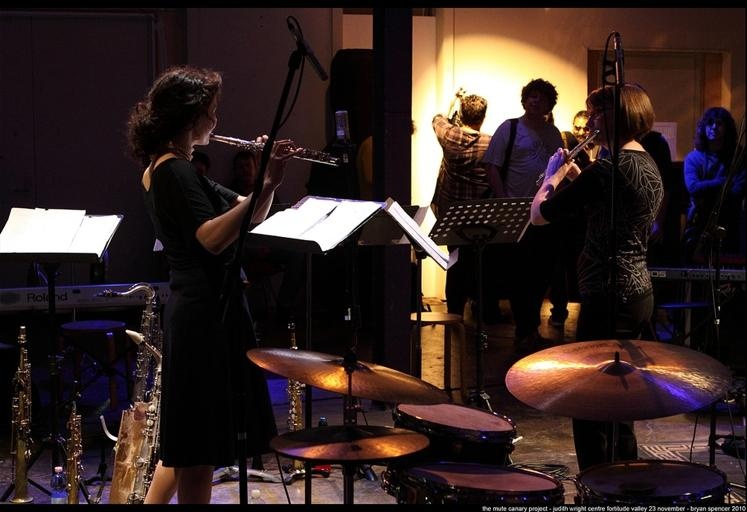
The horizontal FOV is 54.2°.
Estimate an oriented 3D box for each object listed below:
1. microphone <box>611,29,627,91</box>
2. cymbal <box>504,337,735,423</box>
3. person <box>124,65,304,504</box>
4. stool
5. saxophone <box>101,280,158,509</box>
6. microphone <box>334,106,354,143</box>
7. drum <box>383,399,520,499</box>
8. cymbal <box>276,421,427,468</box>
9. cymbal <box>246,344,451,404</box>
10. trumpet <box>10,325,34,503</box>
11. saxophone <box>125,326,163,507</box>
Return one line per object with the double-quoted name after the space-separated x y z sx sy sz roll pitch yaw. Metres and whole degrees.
1.235 -0.987 3.686 0.045 0.321 0.251 2 4 16 "microphone"
1.132 0.484 3.398 0.974 0.156 0.930 -12 13 -20 "cymbal"
-0.722 0.141 3.434 0.834 1.931 0.787 1 16 -17 "person"
0.531 0.779 5.862 0.467 0.700 0.481 1 11 -9 "stool"
-1.309 0.840 4.109 0.313 1.382 0.406 1 15 -20 "saxophone"
-0.166 -0.697 4.088 0.071 0.138 0.053 4 8 17 "microphone"
0.486 0.972 3.659 0.517 0.368 0.509 12 -5 1 "drum"
-0.081 0.827 3.194 0.656 0.142 0.630 0 -1 1 "cymbal"
-0.117 0.533 3.359 0.942 0.162 0.859 8 -7 -16 "cymbal"
-2.063 0.912 4.263 0.112 1.015 0.366 -1 5 -27 "trumpet"
-1.229 0.930 4.072 0.216 1.061 0.312 0 13 -13 "saxophone"
